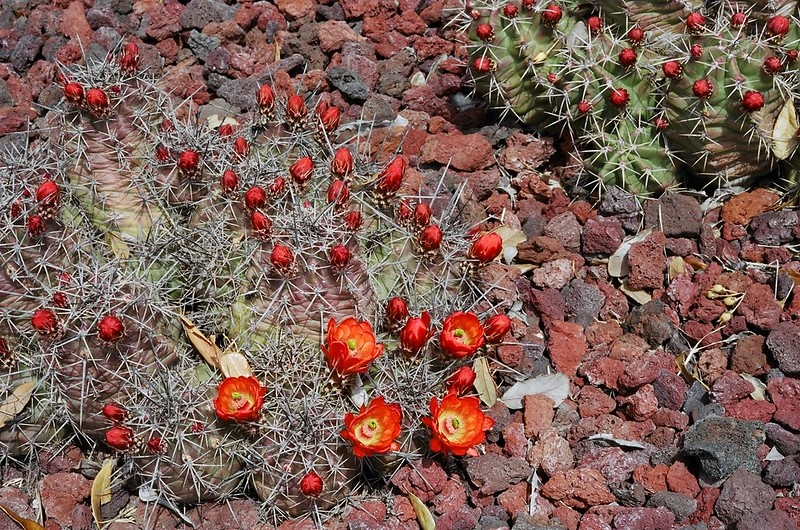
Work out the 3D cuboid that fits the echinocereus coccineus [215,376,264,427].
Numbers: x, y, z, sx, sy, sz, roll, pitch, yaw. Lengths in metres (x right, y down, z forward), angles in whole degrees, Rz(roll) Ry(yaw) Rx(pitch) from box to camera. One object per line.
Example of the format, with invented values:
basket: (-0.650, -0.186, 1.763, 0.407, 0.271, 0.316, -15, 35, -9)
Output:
echinocereus coccineus: (-0.836, 0.728, 3.832, 0.255, 0.134, 0.252, 11, 32, 35)
